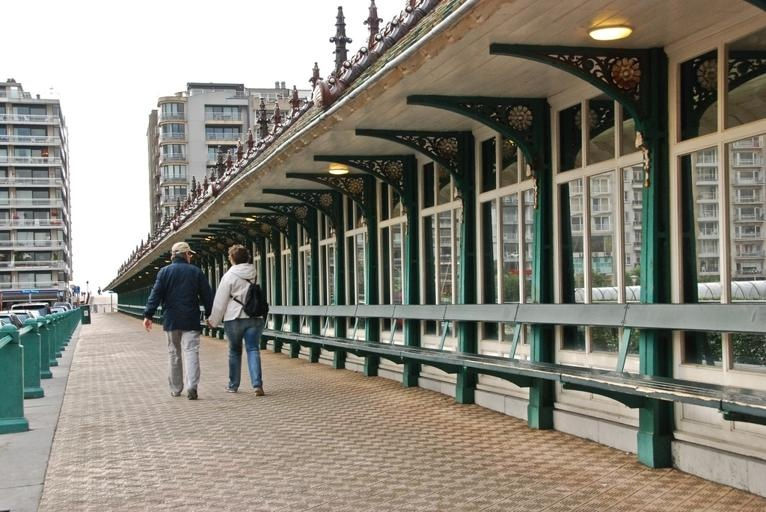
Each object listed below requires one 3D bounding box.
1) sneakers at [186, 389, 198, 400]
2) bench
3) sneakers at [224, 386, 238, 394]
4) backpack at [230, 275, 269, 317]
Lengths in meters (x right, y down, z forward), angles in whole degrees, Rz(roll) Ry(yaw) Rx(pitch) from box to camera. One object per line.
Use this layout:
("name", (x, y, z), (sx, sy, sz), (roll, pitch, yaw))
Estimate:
("sneakers", (-2.731, 1.969, 11.601), (0.147, 0.144, 0.313), (2, -1, -14))
("bench", (1.270, 1.056, 10.498), (1.879, 1.264, 8.666), (2, -1, -32))
("sneakers", (-2.295, 2.018, 12.280), (0.090, 0.077, 0.181), (2, 3, -22))
("backpack", (-1.911, 0.690, 12.142), (0.629, 0.597, 0.389), (-5, -8, 0))
